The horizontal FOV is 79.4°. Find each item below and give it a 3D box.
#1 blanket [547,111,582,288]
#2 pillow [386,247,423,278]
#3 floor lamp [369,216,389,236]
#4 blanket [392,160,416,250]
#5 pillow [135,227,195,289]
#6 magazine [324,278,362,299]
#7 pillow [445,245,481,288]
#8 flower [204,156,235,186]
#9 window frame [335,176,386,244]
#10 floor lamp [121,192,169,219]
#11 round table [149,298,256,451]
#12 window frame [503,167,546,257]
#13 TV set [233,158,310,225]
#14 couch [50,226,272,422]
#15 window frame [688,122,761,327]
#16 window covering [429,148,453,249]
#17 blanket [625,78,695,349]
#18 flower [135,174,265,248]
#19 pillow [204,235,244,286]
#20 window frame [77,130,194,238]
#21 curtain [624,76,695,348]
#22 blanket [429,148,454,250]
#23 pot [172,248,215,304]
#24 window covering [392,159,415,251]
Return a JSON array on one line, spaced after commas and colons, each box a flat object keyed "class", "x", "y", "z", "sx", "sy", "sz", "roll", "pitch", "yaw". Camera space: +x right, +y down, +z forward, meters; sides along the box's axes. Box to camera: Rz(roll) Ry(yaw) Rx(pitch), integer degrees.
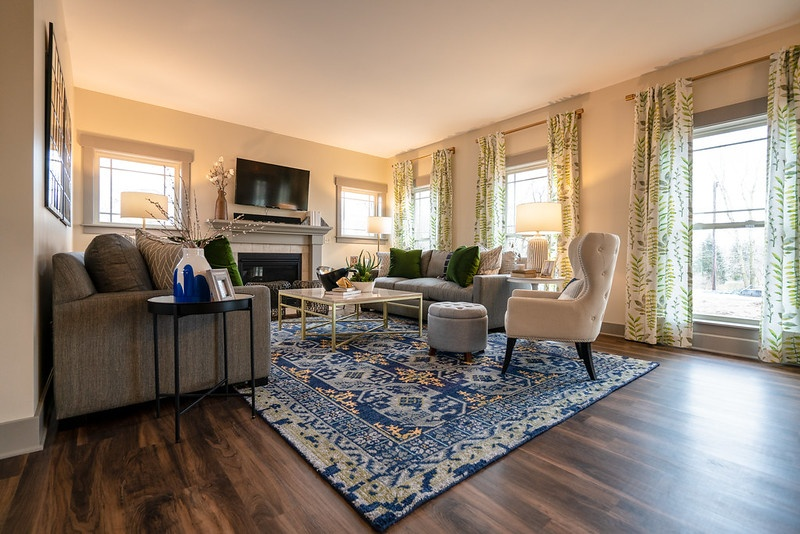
[{"class": "blanket", "x": 2.116, "y": -0.893, "z": 6.041, "sx": 0.170, "sy": 2.086, "sz": 0.494, "roll": -15, "pitch": 26, "yaw": -7}, {"class": "pillow", "x": 0.059, "y": -0.034, "z": 6.801, "sx": 0.459, "sy": 0.405, "sz": 0.158, "roll": -1, "pitch": -24, "yaw": 13}, {"class": "floor lamp", "x": -0.348, "y": -0.664, "z": 7.933, "sx": 0.301, "sy": 0.298, "sz": 0.277, "roll": -1, "pitch": 4, "yaw": -8}, {"class": "blanket", "x": 0.100, "y": -0.974, "z": 8.239, "sx": 0.420, "sy": 1.624, "sz": 0.122, "roll": 10, "pitch": 21, "yaw": 30}, {"class": "pillow", "x": -1.797, "y": -0.074, "z": 3.698, "sx": 0.163, "sy": 0.386, "sz": 0.402, "roll": -29, "pitch": -17, "yaw": 22}, {"class": "magazine", "x": -0.545, "y": 0.246, "z": 4.953, "sx": 0.258, "sy": 0.150, "sz": 0.254, "roll": 2, "pitch": 3, "yaw": 35}, {"class": "pillow", "x": 0.760, "y": 0.019, "z": 5.782, "sx": 0.205, "sy": 0.369, "sz": 0.564, "roll": 5, "pitch": -1, "yaw": -14}, {"class": "flower", "x": -2.499, "y": -1.288, "z": 6.702, "sx": 0.391, "sy": 0.495, "sz": 0.384, "roll": 3, "pitch": 0, "yaw": -28}, {"class": "window frame", "x": -0.654, "y": -0.939, "z": 8.302, "sx": 1.169, "sy": 1.152, "sz": 0.131, "roll": -1, "pitch": 2, "yaw": -44}, {"class": "floor lamp", "x": -3.090, "y": -0.757, "z": 5.886, "sx": 0.384, "sy": 0.340, "sz": 0.772, "roll": 0, "pitch": 3, "yaw": -1}, {"class": "round table", "x": -1.404, "y": 0.683, "z": 3.452, "sx": 0.687, "sy": 0.959, "sz": 0.496, "roll": -2, "pitch": 4, "yaw": -27}, {"class": "window frame", "x": 1.725, "y": -0.796, "z": 6.558, "sx": 0.650, "sy": 1.372, "sz": 0.067, "roll": 2, "pitch": -7, "yaw": -2}, {"class": "TV set", "x": -1.887, "y": -1.081, "z": 7.205, "sx": 1.117, "sy": 0.864, "sz": 0.413, "roll": 7, "pitch": 7, "yaw": 4}, {"class": "couch", "x": -2.019, "y": 0.297, "z": 3.989, "sx": 1.436, "sy": 1.442, "sz": 1.433, "roll": -2, "pitch": 2, "yaw": -42}, {"class": "window frame", "x": 3.401, "y": -0.385, "z": 5.062, "sx": 0.245, "sy": 2.375, "sz": 0.844, "roll": 9, "pitch": -6, "yaw": -37}, {"class": "window covering", "x": 0.593, "y": -1.077, "z": 7.538, "sx": 0.455, "sy": 1.532, "sz": 0.159, "roll": -3, "pitch": -5, "yaw": 39}, {"class": "blanket", "x": 2.820, "y": -0.595, "z": 5.226, "sx": 0.308, "sy": 2.874, "sz": 0.653, "roll": 0, "pitch": -1, "yaw": -43}, {"class": "flower", "x": -2.428, "y": -0.575, "z": 5.891, "sx": 1.266, "sy": 0.693, "sz": 1.413, "roll": -2, "pitch": 2, "yaw": -40}, {"class": "pillow", "x": -1.481, "y": -0.016, "z": 4.044, "sx": 0.158, "sy": 0.386, "sz": 0.403, "roll": -20, "pitch": -3, "yaw": 33}, {"class": "window frame", "x": -3.321, "y": -1.034, "z": 5.931, "sx": 0.178, "sy": 1.438, "sz": 1.786, "roll": 3, "pitch": 2, "yaw": 44}, {"class": "curtain", "x": 2.823, "y": -0.517, "z": 5.219, "sx": 0.668, "sy": 2.945, "sz": 0.315, "roll": 0, "pitch": 1, "yaw": 44}, {"class": "blanket", "x": 0.622, "y": -1.023, "z": 7.519, "sx": 0.526, "sy": 1.573, "sz": 0.154, "roll": 8, "pitch": 16, "yaw": 38}, {"class": "pot", "x": -1.422, "y": 0.059, "z": 3.290, "sx": 0.230, "sy": 0.363, "sz": 0.177, "roll": -1, "pitch": 4, "yaw": -17}, {"class": "window covering", "x": 0.111, "y": -1.030, "z": 8.201, "sx": 0.420, "sy": 1.497, "sz": 0.118, "roll": 3, "pitch": 6, "yaw": 27}]
